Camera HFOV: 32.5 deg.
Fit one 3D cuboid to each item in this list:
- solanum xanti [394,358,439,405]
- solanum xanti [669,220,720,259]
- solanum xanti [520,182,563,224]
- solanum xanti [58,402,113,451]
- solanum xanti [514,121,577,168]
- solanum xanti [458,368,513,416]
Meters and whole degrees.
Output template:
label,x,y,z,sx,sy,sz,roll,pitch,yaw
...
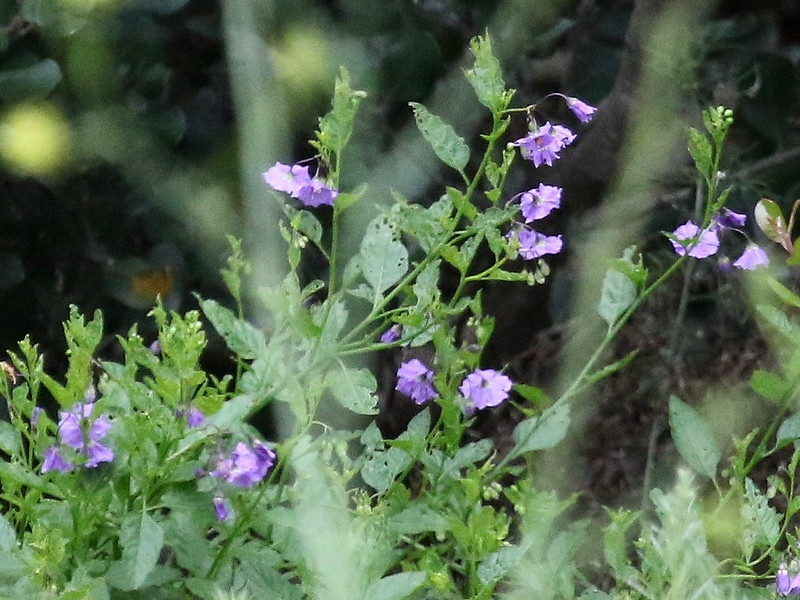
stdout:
label,x,y,z,sx,sy,sz,roll,pitch,yaw
solanum xanti,0.026,0.128,2.360,0.067,0.068,0.032,-48,6,15
solanum xanti,0.509,-0.115,2.366,0.058,0.031,0.065,1,-15,29
solanum xanti,0.248,-0.170,2.336,0.029,0.074,0.066,14,27,27
solanum xanti,-0.479,0.187,2.068,0.064,0.072,0.024,-33,-7,-7
solanum xanti,0.249,-0.280,2.334,0.098,0.043,0.082,20,-1,-35
solanum xanti,0.138,0.148,2.243,0.063,0.079,0.032,-12,-17,-5
